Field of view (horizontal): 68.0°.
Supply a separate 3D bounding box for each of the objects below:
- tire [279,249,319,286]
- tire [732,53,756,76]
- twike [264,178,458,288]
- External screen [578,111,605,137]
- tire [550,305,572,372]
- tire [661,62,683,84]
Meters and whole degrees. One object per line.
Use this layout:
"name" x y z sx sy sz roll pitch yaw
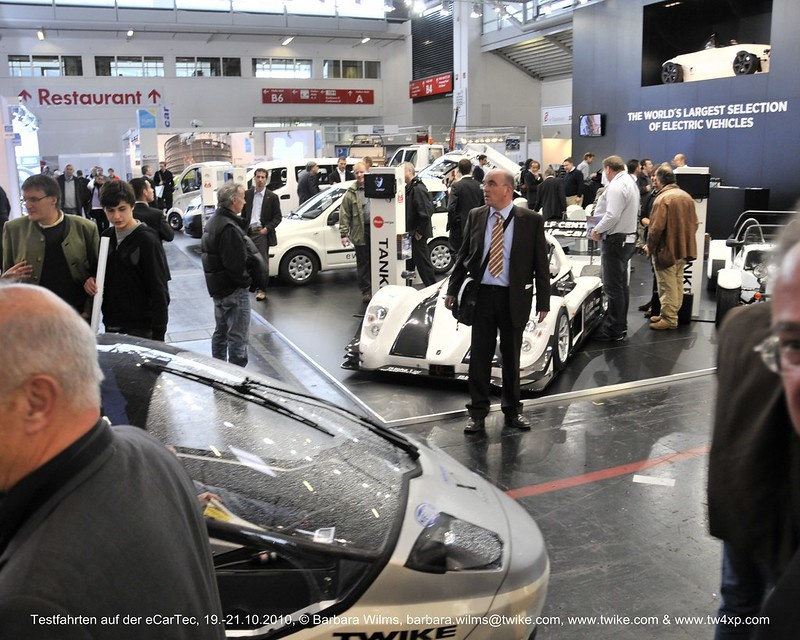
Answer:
"tire" -1.993 -1.060 11.593 0.554 0.549 0.196 -21 28 -27
"tire" 9.687 -7.213 16.590 0.651 0.618 0.265 10 18 34
"twike" -0.726 -1.818 12.650 4.126 1.951 2.078 -3 7 -4
"External screen" 6.899 -6.957 21.222 0.223 0.785 1.101 -7 16 -23
"tire" 1.760 0.184 6.508 0.164 0.681 0.685 7 9 24
"tire" 8.449 -7.661 18.390 0.267 0.646 0.745 -7 16 -22
